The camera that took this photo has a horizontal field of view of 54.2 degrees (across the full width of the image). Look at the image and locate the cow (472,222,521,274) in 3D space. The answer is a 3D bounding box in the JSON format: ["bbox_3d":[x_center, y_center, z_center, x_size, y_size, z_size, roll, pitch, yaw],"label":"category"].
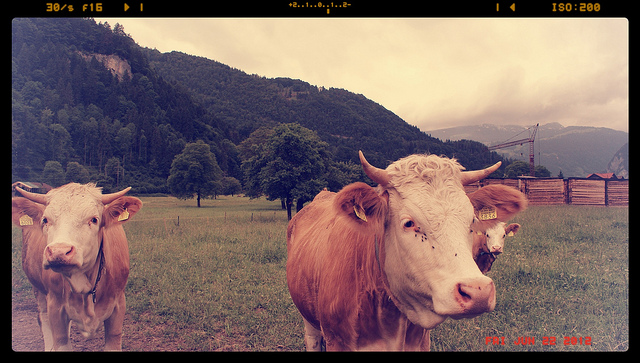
[{"bbox_3d":[6.505,2.335,23.814,1.597,1.923,3.813,3,5,10],"label":"cow"}]

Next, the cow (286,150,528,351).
[{"bbox_3d":[2.129,2.238,19.385,5.714,6.128,1.756,-1,-1,24],"label":"cow"}]

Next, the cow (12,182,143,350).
[{"bbox_3d":[-7.765,2.810,20.500,3.341,5.528,1.118,0,-1,-16],"label":"cow"}]
